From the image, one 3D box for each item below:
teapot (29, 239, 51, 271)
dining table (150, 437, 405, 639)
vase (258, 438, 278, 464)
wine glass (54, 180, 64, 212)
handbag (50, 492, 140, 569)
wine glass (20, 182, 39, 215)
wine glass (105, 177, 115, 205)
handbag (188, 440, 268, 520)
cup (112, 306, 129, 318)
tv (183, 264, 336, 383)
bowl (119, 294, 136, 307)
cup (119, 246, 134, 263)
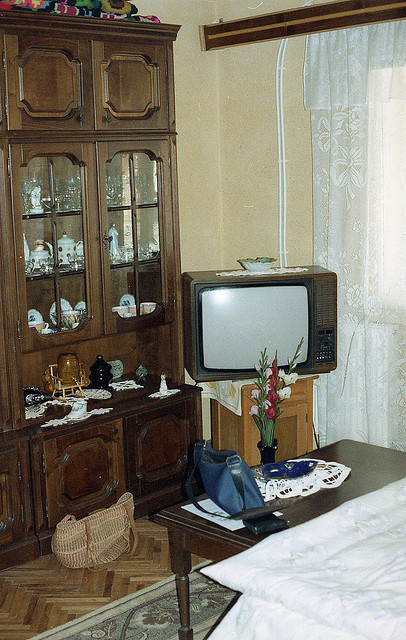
[{"bbox_3d":[-0.702,-0.288,2.252,0.105,0.146,0.104,-7,9,-37],"label":"teapot"},{"bbox_3d":[0.180,0.563,1.346,0.658,0.330,0.400,-14,9,-39],"label":"dining table"},{"bbox_3d":[0.272,0.569,2.292,0.090,0.101,0.087,-1,0,-1],"label":"vase"},{"bbox_3d":[-0.627,-0.538,2.287,0.015,0.136,0.044,0,3,44],"label":"wine glass"},{"bbox_3d":[-0.428,0.894,2.232,0.205,0.224,0.381,15,19,42],"label":"handbag"},{"bbox_3d":[-0.725,-0.508,2.198,0.069,0.127,0.026,-4,3,-41],"label":"wine glass"},{"bbox_3d":[-0.432,-0.601,2.451,0.019,0.123,0.055,0,3,36],"label":"wine glass"},{"bbox_3d":[0.046,0.418,1.421,0.125,0.163,0.233,-14,8,-41],"label":"handbag"},{"bbox_3d":[-0.400,-0.041,2.563,0.046,0.037,0.051,0,-2,40],"label":"cup"},{"bbox_3d":[0.311,-0.016,2.743,0.743,0.533,0.411,-5,18,-2],"label":"tv"},{"bbox_3d":[-0.371,-0.095,2.588,0.019,0.063,0.090,0,3,37],"label":"bowl"},{"bbox_3d":[-0.370,-0.319,2.538,0.039,0.072,0.074,6,9,39],"label":"cup"}]
